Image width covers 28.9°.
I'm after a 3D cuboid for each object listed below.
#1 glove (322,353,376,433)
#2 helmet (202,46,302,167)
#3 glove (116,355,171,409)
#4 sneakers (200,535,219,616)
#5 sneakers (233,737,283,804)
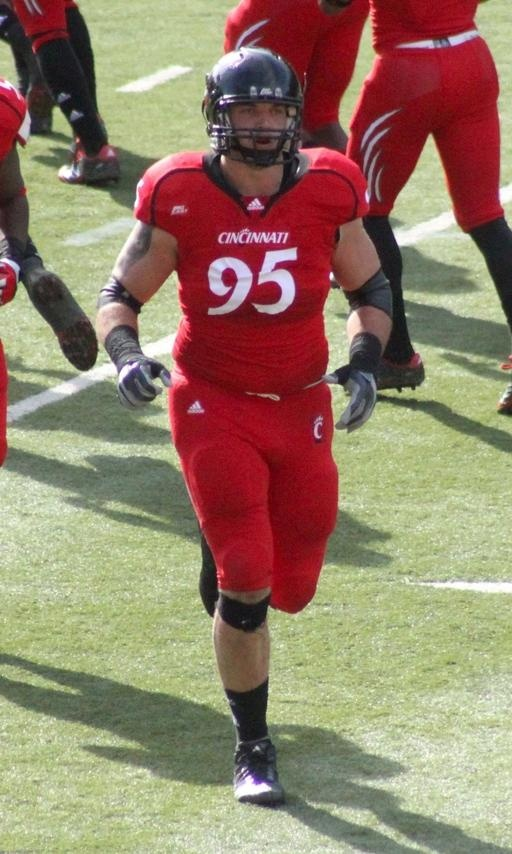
[{"bbox_3d":[0.210,-0.079,2.288,0.111,0.068,0.163,-7,48,16],"label":"glove"},{"bbox_3d":[-0.010,-0.746,2.281,0.240,0.225,0.297,-2,20,-10],"label":"helmet"},{"bbox_3d":[-0.243,-0.094,2.159,0.105,0.123,0.055,-14,39,12],"label":"glove"},{"bbox_3d":[-0.131,0.395,2.583,0.058,0.236,0.064,10,39,14],"label":"sneakers"},{"bbox_3d":[0.000,0.753,2.147,0.066,0.071,0.173,-1,-4,-7],"label":"sneakers"}]
